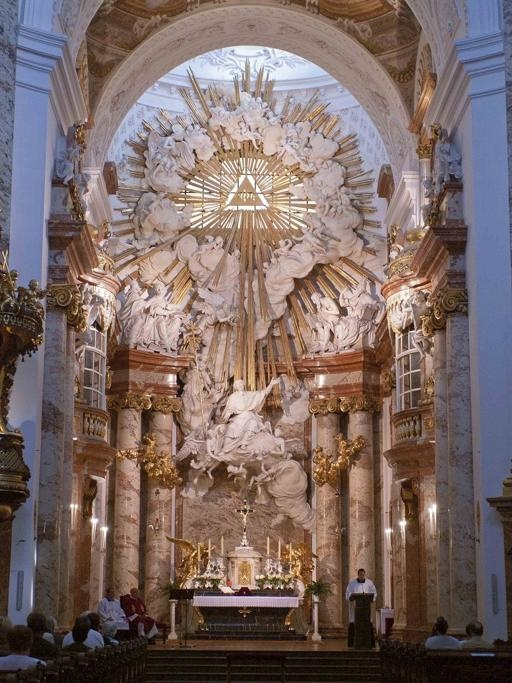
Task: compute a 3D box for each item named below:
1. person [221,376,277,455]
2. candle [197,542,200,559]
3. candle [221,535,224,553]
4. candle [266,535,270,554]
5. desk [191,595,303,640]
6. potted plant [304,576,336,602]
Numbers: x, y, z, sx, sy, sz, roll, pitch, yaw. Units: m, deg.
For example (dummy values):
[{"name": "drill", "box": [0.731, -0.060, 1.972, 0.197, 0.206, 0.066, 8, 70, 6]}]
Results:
[{"name": "person", "box": [-0.226, 1.369, 17.496, 1.006, 1.127, 0.422, -2, -14, -3]}, {"name": "candle", "box": [-1.022, 3.757, 17.191, 0.061, 0.262, 0.108, 1, -17, -4]}, {"name": "candle", "box": [-0.620, 3.732, 17.585, 0.043, 0.338, 0.038, 5, -18, -14]}, {"name": "candle", "box": [0.203, 3.728, 17.511, 0.064, 0.340, 0.076, 1, -17, -3]}, {"name": "desk", "box": [-0.178, 4.434, 15.486, 1.680, 0.687, 0.855, 1, -17, -3]}, {"name": "potted plant", "box": [1.078, 4.189, 16.256, 0.484, 0.307, 0.458, 0, -8, -10]}]
